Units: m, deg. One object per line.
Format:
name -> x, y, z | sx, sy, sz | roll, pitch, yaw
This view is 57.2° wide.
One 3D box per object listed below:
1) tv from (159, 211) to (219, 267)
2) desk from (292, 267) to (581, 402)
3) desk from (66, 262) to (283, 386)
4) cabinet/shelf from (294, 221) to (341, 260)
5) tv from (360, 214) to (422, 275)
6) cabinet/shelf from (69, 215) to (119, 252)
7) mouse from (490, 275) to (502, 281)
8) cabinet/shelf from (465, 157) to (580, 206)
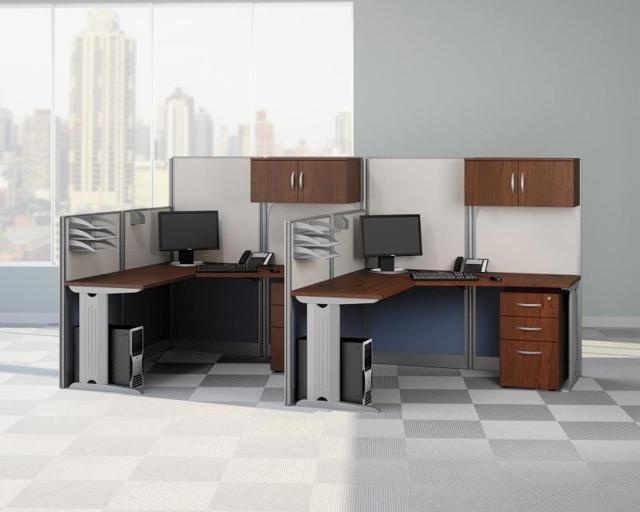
tv -> -1.263, -0.185, 5.664 | 0.578, 0.498, 0.228 | 0, -1, -10
desk -> 1.026, 0.637, 4.865 | 2.556, 0.927, 0.983 | -2, 5, -19
desk -> -1.333, 0.462, 4.889 | 1.191, 0.620, 1.145 | 2, 3, 9
cabinet/shelf -> -0.018, -0.128, 4.623 | 0.308, 0.298, 0.646 | 0, 5, 7
tv -> 0.612, -0.105, 5.374 | 0.589, 0.512, 0.273 | -3, 3, -20
cabinet/shelf -> -1.864, -0.201, 4.961 | 0.177, 0.275, 0.587 | 3, 6, 27
mouse -> 1.491, 0.183, 4.943 | 0.126, 0.047, 0.049 | 0, 10, -13
cabinet/shelf -> 1.698, -0.623, 5.173 | 0.950, 0.401, 0.308 | 0, 0, -2
